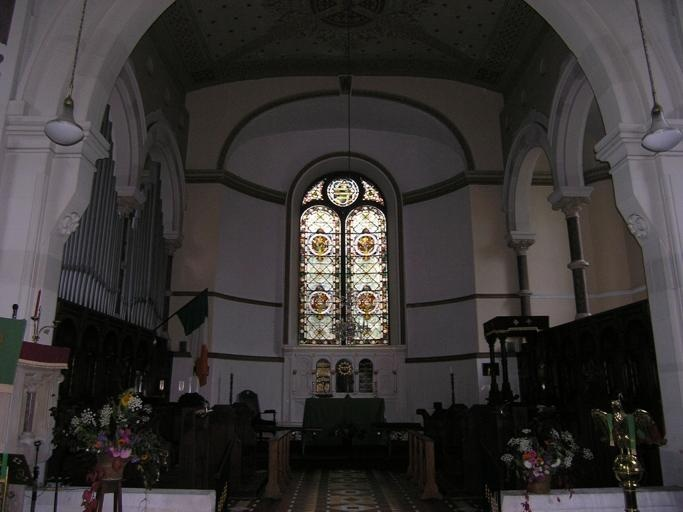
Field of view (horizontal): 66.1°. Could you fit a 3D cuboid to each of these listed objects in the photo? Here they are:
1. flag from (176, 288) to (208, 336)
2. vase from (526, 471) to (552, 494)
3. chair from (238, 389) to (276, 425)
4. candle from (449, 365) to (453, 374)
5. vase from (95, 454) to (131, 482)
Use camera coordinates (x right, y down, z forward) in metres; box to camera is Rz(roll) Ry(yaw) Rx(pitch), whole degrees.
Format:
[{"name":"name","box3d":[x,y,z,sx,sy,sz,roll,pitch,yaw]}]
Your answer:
[{"name":"flag","box3d":[-3.537,1.360,12.432,0.864,1.091,0.111,8,-9,-29]},{"name":"vase","box3d":[1.767,1.999,4.685,0.166,0.149,0.173,0,-12,5]},{"name":"chair","box3d":[-2.018,3.585,12.649,0.943,0.888,2.887,0,-17,-8]},{"name":"candle","box3d":[2.789,2.851,13.275,0.104,0.204,0.354,-5,-17,11]},{"name":"vase","box3d":[-1.863,1.708,4.271,0.193,0.165,0.201,7,-29,-10]}]
